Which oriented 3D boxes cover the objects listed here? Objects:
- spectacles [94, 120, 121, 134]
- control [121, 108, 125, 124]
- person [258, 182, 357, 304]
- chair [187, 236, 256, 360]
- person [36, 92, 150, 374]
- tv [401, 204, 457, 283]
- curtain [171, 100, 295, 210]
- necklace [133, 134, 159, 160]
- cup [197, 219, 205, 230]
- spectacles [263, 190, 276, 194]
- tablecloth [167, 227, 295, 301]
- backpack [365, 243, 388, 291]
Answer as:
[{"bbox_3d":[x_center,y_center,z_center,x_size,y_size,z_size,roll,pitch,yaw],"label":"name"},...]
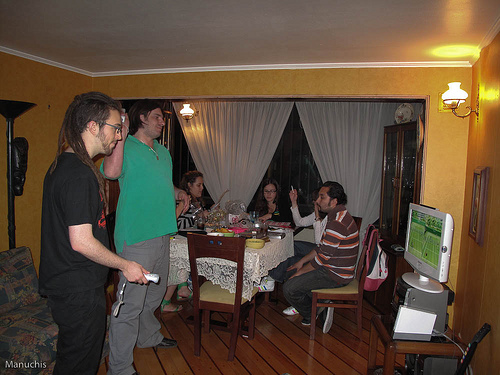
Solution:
[{"bbox_3d":[-0.834,-0.357,2.018,0.048,0.077,0.155,9,12,35],"label":"spectacles"},{"bbox_3d":[-0.822,-0.458,2.192,0.021,0.093,0.158,-2,11,-19],"label":"control"},{"bbox_3d":[0.558,0.623,3.514,1.077,1.322,0.587,1,8,13],"label":"person"},{"bbox_3d":[-0.223,0.924,3.093,0.515,1.075,0.647,2,1,4],"label":"chair"},{"bbox_3d":[-0.972,0.278,2.010,0.531,1.650,0.421,-4,12,-31],"label":"person"},{"bbox_3d":[1.322,0.415,2.505,0.185,0.566,0.578,5,7,4],"label":"tv"},{"bbox_3d":[-0.178,-0.553,5.394,1.624,1.679,0.082,2,4,9],"label":"curtain"},{"bbox_3d":[-0.819,-0.309,2.631,0.311,0.047,0.026,39,13,8],"label":"necklace"},{"bbox_3d":[-0.493,0.382,3.453,0.081,0.085,0.078,1,1,0],"label":"cup"},{"bbox_3d":[0.264,0.063,4.651,0.163,0.061,0.047,4,10,10],"label":"spectacles"},{"bbox_3d":[-0.173,0.659,3.042,0.749,0.291,0.784,3,4,23],"label":"tablecloth"},{"bbox_3d":[1.228,0.744,3.202,0.282,0.459,0.110,-5,12,-33],"label":"backpack"}]
